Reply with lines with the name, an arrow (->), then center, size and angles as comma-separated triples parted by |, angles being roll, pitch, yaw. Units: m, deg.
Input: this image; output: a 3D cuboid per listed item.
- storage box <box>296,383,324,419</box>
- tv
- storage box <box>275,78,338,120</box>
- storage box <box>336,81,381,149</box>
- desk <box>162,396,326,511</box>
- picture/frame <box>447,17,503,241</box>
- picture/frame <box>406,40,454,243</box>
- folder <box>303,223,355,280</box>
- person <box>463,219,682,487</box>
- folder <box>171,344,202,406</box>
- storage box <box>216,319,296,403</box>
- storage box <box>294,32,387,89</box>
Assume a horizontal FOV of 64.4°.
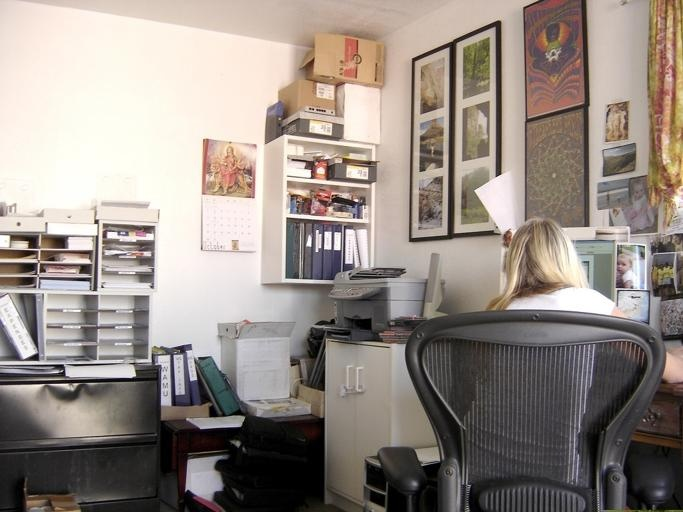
storage box -> -0.213, 1.001, 3.797 | 0.157, 0.190, 0.299 | 4, -1, -28
tv -> 0.822, 0.064, 2.014 | 0.027, 0.346, 0.299 | 6, -3, -40
storage box -> -0.249, -1.212, 4.198 | 0.341, 0.240, 0.345 | 3, 2, -39
storage box -> 0.113, -1.104, 4.232 | 0.507, 0.553, 0.179 | 4, -4, -35
desk -> -0.863, 1.163, 3.557 | 0.943, 0.440, 0.556 | 2, -7, -20
picture/frame -> 0.862, -0.799, 3.514 | 0.130, 1.393, 0.391 | -2, 0, -35
picture/frame -> 0.623, -0.784, 3.815 | 0.087, 1.379, 0.382 | -2, 0, -36
folder -> -0.119, 0.020, 4.345 | 0.371, 0.480, 0.494 | 2, -5, -7
person -> 0.622, 0.412, 2.233 | 0.594, 1.019, 0.831 | -4, -18, -47
folder -> -1.062, 0.829, 3.693 | 0.131, 0.339, 0.363 | -16, 1, -18
storage box -> -0.601, 0.749, 3.884 | 0.477, 0.610, 0.576 | 2, -7, -24
storage box -> 0.030, -1.524, 4.293 | 0.583, 0.303, 0.358 | 2, 9, -16
